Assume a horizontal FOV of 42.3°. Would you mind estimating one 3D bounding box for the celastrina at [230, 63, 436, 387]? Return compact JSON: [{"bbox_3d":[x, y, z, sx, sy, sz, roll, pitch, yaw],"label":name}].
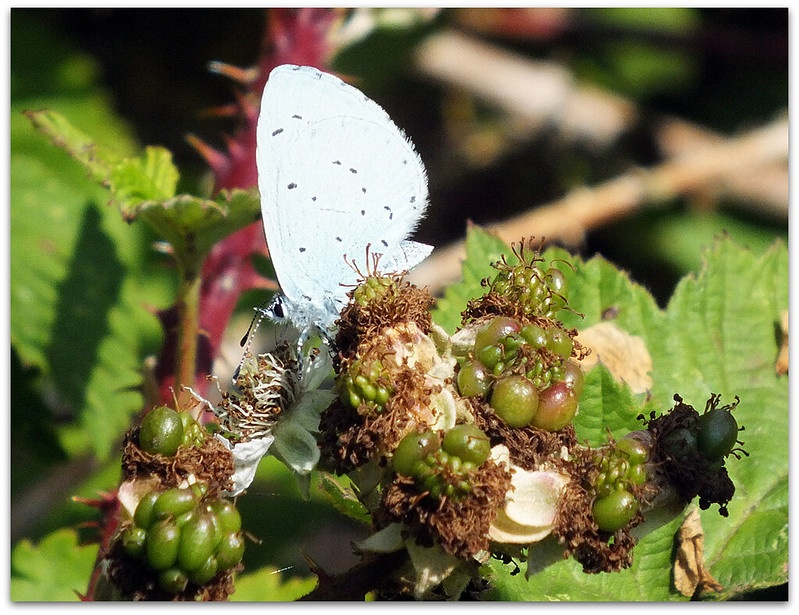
[{"bbox_3d":[-0.323,-0.307,4.294,0.794,1.373,0.806,-22,44,-20],"label":"celastrina"}]
